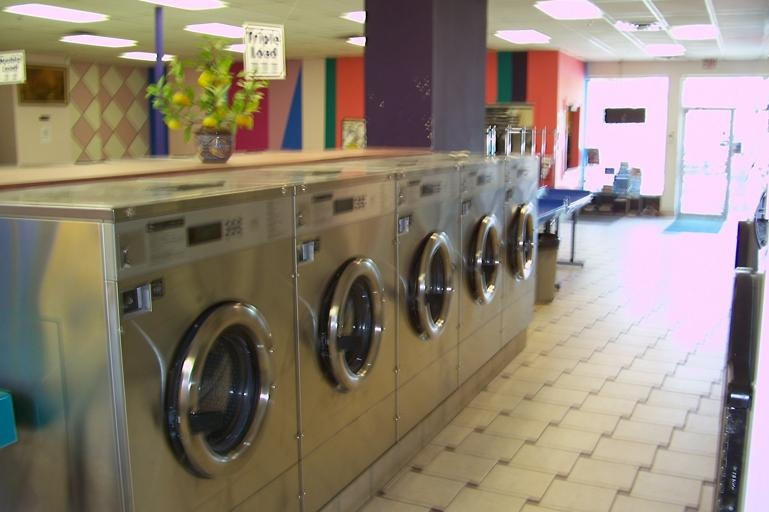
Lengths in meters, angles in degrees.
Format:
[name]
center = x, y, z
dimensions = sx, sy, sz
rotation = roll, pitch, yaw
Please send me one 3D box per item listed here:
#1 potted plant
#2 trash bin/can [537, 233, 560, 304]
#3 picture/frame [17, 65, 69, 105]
[potted plant]
center = -1.011, -0.851, 3.133
dimensions = 0.527, 0.564, 0.596
rotation = -7, 12, -32
[trash bin/can]
center = 1.902, 0.120, 6.106
dimensions = 0.238, 0.758, 0.509
rotation = 4, 14, 18
[picture/frame]
center = -7.084, -3.601, 10.861
dimensions = 0.802, 0.881, 1.637
rotation = -7, 15, -27
